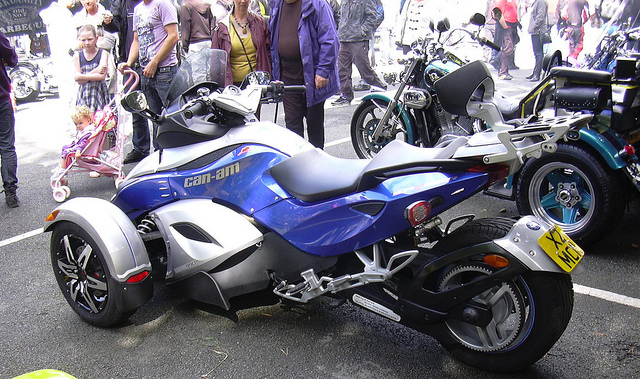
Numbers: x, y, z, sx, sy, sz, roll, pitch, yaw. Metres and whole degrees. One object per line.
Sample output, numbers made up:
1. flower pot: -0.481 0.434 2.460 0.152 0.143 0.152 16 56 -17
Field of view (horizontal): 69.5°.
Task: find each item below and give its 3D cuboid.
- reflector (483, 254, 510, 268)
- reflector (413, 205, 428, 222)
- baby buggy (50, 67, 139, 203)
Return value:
1. reflector: 1.479 0.598 3.865 0.199 0.106 0.041 11 25 16
2. reflector: 0.833 0.189 3.853 0.134 0.136 0.022 -2 16 -6
3. baby buggy: -3.696 -0.723 7.656 0.887 0.660 1.344 -5 67 9
